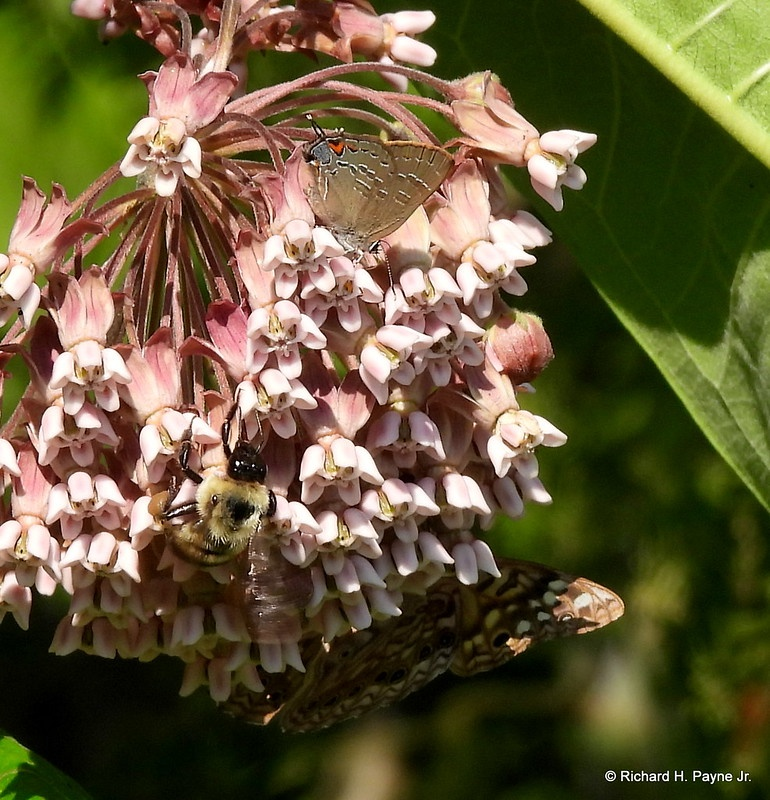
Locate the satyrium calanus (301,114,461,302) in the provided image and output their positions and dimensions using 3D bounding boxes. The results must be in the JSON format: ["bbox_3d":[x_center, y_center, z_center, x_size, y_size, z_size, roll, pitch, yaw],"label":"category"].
[{"bbox_3d":[-0.036,-0.351,2.313,0.220,0.274,0.266,-29,97,-15],"label":"satyrium calanus"}]

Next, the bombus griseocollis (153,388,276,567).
[{"bbox_3d":[-0.381,0.177,2.645,0.270,0.363,0.135,-4,27,-31],"label":"bombus griseocollis"}]
